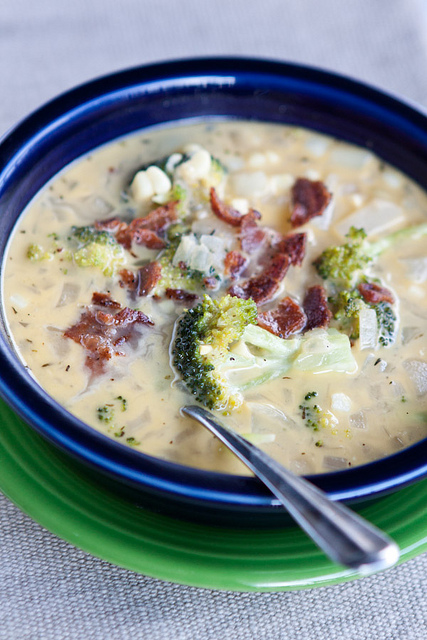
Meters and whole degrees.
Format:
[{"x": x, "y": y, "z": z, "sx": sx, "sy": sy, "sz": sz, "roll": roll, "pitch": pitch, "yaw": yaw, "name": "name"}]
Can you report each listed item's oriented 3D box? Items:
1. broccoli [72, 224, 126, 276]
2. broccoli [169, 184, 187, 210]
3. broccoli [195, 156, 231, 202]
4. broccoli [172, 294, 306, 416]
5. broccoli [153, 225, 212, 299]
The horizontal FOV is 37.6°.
[{"x": -0.213, "y": -0.130, "z": 1.166, "sx": 0.098, "sy": 0.023, "sz": 0.093, "roll": 32, "pitch": 44, "yaw": 10, "name": "broccoli"}, {"x": -0.070, "y": -0.251, "z": 1.266, "sx": 0.035, "sy": 0.049, "sz": 0.013, "roll": 6, "pitch": 21, "yaw": 9, "name": "broccoli"}, {"x": -0.005, "y": -0.297, "z": 1.318, "sx": 0.042, "sy": 0.097, "sz": 0.080, "roll": 30, "pitch": 14, "yaw": -30, "name": "broccoli"}, {"x": 0.013, "y": 0.031, "z": 1.026, "sx": 0.188, "sy": 0.104, "sz": 0.215, "roll": 35, "pitch": 59, "yaw": 17, "name": "broccoli"}, {"x": -0.060, "y": -0.109, "z": 1.198, "sx": 0.110, "sy": 0.035, "sz": 0.117, "roll": 2, "pitch": 74, "yaw": -2, "name": "broccoli"}]
